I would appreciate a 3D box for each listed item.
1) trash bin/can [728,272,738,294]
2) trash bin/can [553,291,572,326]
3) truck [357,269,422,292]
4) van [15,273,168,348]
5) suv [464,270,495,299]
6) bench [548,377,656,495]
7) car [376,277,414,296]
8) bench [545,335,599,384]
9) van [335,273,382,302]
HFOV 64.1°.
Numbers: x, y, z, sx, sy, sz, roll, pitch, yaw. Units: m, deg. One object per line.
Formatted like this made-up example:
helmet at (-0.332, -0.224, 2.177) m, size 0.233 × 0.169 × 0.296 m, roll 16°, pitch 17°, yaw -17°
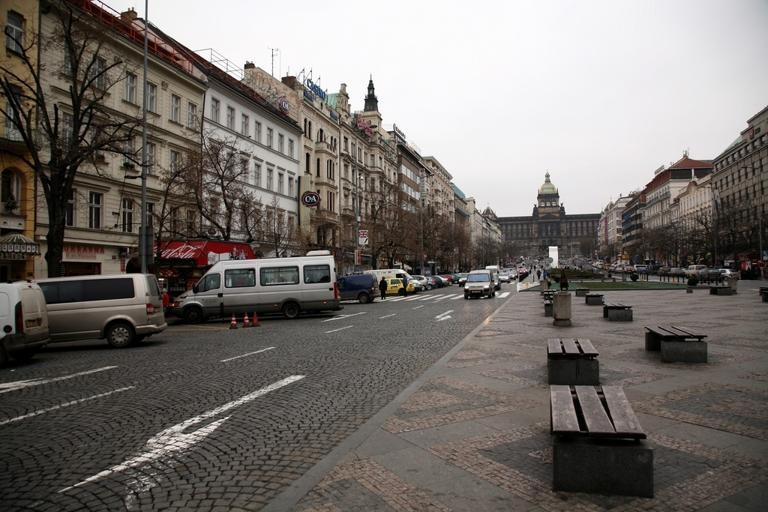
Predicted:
trash bin/can at (23.809, 1.885, 41.937) m, size 0.769 × 1.423 × 0.763 m, roll -1°, pitch -9°, yaw 7°
trash bin/can at (6.343, 1.872, 21.649) m, size 0.654 × 1.119 × 0.676 m, roll 0°, pitch 1°, yaw 14°
truck at (0.839, 2.370, 50.402) m, size 3.633 × 1.837 × 2.282 m, roll -3°, pitch 0°, yaw 0°
van at (-9.351, 1.716, 20.436) m, size 3.842 × 1.940 × 1.997 m, roll 1°, pitch -4°, yaw -6°
suv at (6.369, 2.024, 40.363) m, size 1.705 × 1.637 × 2.525 m, roll 1°, pitch 9°, yaw 15°
bench at (3.410, 2.969, 9.828) m, size 1.180 × 0.761 × 2.214 m, roll -1°, pitch 2°, yaw 8°
car at (1.338, 2.519, 49.558) m, size 2.191 × 1.122 × 1.402 m, roll -3°, pitch -1°, yaw 1°
bench at (4.179, 2.366, 13.519) m, size 1.076 × 0.744 × 1.348 m, roll 1°, pitch 9°, yaw 15°
van at (-1.613, 2.153, 40.740) m, size 2.233 × 1.237 × 1.619 m, roll 1°, pitch -1°, yaw 7°
